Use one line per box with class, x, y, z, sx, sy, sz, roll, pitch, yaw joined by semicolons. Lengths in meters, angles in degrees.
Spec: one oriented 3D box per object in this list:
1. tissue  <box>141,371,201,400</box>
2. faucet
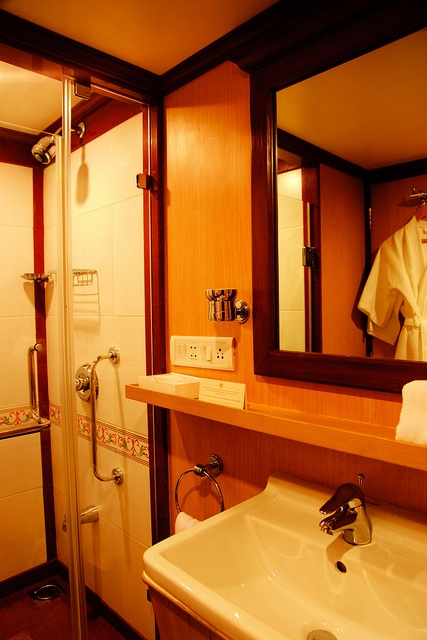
tissue ;-0.118;0.193;1.448;0.162;0.046;0.258;-7;8;-36
faucet;0.267;0.414;0.939;0.068;0.125;0.153;2;7;33
